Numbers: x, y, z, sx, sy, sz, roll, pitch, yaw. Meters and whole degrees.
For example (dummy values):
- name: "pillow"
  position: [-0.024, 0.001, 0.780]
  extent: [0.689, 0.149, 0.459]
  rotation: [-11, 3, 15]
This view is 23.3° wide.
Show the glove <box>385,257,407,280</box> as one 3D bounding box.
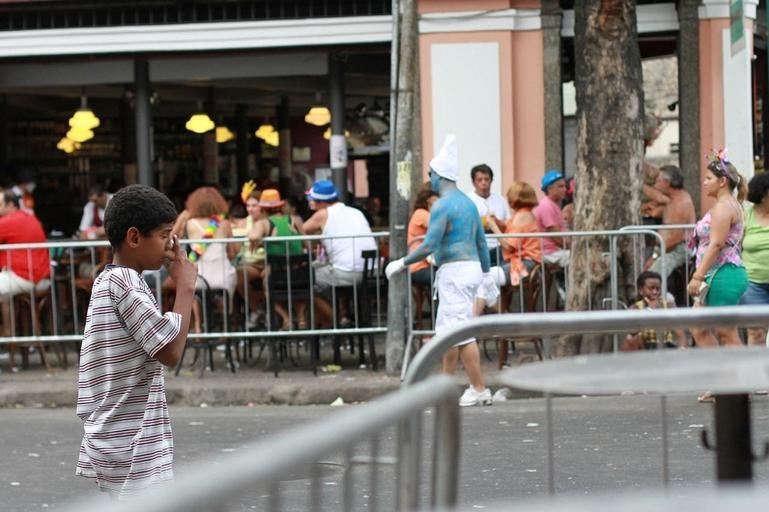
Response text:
- name: "glove"
  position: [0.191, 0.154, 24.095]
  extent: [0.271, 0.079, 0.209]
  rotation: [-29, 21, 35]

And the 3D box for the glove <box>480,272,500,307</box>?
- name: "glove"
  position: [1.419, 0.337, 24.229]
  extent: [0.262, 0.419, 0.329]
  rotation: [-5, 9, 10]

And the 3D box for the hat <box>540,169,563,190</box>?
- name: "hat"
  position: [2.456, -1.144, 26.900]
  extent: [0.339, 0.161, 0.234]
  rotation: [-32, 3, -28]

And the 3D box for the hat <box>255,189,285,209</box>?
- name: "hat"
  position: [-1.631, -0.821, 26.837]
  extent: [0.392, 0.179, 0.471]
  rotation: [0, 5, 1]

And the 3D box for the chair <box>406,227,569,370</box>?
- name: "chair"
  position: [1.624, 0.475, 25.799]
  extent: [1.543, 2.139, 1.811]
  rotation: [2, -3, -6]

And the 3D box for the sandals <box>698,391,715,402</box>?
- name: "sandals"
  position: [3.276, 1.427, 18.909]
  extent: [0.086, 0.104, 0.290]
  rotation: [-3, 0, 22]

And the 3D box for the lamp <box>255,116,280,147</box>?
- name: "lamp"
  position: [-2.141, -2.332, 34.900]
  extent: [0.553, 0.535, 0.128]
  rotation: [3, 14, 7]

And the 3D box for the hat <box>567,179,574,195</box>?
- name: "hat"
  position: [2.821, -1.059, 28.211]
  extent: [0.082, 0.235, 0.176]
  rotation: [3, -4, -44]

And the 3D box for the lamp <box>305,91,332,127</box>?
- name: "lamp"
  position: [-1.113, -2.574, 32.583]
  extent: [0.533, 0.561, 0.531]
  rotation: [-2, 6, -16]

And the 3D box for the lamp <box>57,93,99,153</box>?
- name: "lamp"
  position: [-5.373, -2.383, 32.996]
  extent: [0.981, 1.181, 0.905]
  rotation: [1, 0, -18]

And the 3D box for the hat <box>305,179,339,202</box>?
- name: "hat"
  position: [-0.870, -0.924, 26.035]
  extent: [0.327, 0.215, 0.422]
  rotation: [-5, 12, -25]

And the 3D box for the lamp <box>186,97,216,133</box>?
- name: "lamp"
  position: [-3.223, -2.538, 33.228]
  extent: [0.635, 0.589, 0.591]
  rotation: [0, -5, -2]

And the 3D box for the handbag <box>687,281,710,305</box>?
- name: "handbag"
  position: [4.008, 0.466, 23.566]
  extent: [0.083, 0.246, 0.244]
  rotation: [19, 5, -26]

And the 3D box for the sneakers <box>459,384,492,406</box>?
- name: "sneakers"
  position: [1.055, 1.580, 20.920]
  extent: [0.605, 0.271, 0.274]
  rotation: [6, -9, -45]

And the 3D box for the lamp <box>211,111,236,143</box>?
- name: "lamp"
  position: [-2.990, -2.434, 35.167]
  extent: [0.514, 0.517, 0.503]
  rotation: [-1, -6, -3]
